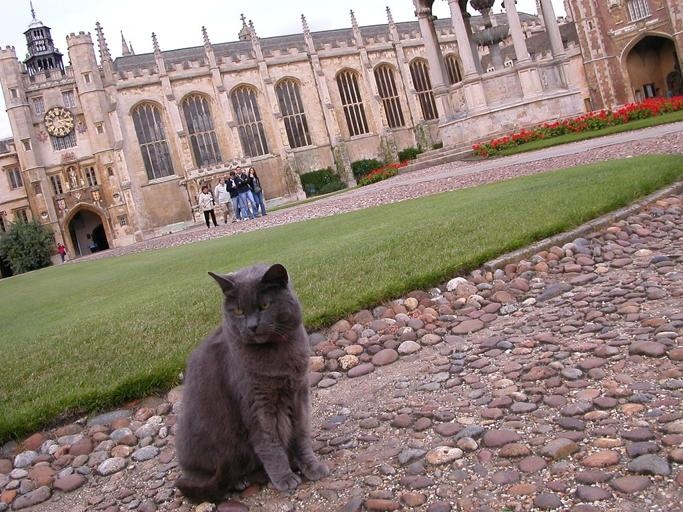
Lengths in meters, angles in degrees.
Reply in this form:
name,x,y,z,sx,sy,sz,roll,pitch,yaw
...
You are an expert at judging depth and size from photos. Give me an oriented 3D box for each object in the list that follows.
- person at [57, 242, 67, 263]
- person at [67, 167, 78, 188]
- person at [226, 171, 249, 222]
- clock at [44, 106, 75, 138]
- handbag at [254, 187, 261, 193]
name,x,y,z,sx,sy,sz,roll,pitch,yaw
person,-17.435,-0.251,38.037,0.464,1.099,1.073,-16,8,-24
person,-16.787,-4.886,37.849,0.602,1.364,0.533,-14,7,-7
person,-3.669,-2.122,21.448,0.556,1.361,1.703,-14,8,-9
clock,-17.278,-8.294,37.299,1.782,1.760,0.367,-14,7,-3
handbag,-2.982,-2.361,21.815,0.132,0.196,0.193,3,19,-8
